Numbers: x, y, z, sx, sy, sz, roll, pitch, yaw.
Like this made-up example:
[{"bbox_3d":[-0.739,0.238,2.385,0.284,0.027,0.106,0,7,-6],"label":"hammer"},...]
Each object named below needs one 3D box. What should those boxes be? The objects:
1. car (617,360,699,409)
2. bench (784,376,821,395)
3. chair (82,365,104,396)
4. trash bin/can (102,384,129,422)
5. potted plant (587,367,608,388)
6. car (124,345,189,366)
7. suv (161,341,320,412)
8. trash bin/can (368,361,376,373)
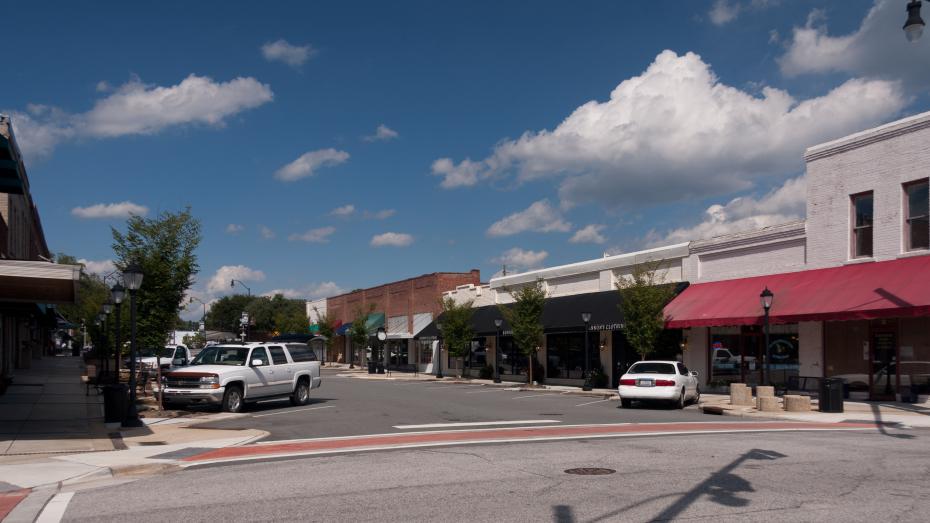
[{"bbox_3d":[8.859,5.535,34.275,3.647,2.214,2.082,6,-15,-36],"label":"car"},{"bbox_3d":[15.631,5.754,35.143,0.410,0.511,0.988,-10,-4,-42],"label":"bench"},{"bbox_3d":[-20.180,6.517,41.466,1.414,2.190,1.414,4,-9,-25],"label":"chair"},{"bbox_3d":[-13.075,5.371,28.647,0.909,1.330,0.620,-1,-11,-11],"label":"trash bin/can"},{"bbox_3d":[7.775,6.719,43.898,1.164,1.445,1.161,3,-8,1],"label":"potted plant"},{"bbox_3d":[-16.908,5.220,41.904,1.980,1.575,3.518,-4,-12,20],"label":"car"},{"bbox_3d":[-9.489,5.055,33.400,2.012,3.064,6.032,-14,-16,42],"label":"suv"},{"bbox_3d":[-8.036,9.140,65.503,0.902,0.833,0.857,-1,-9,2],"label":"trash bin/can"}]
